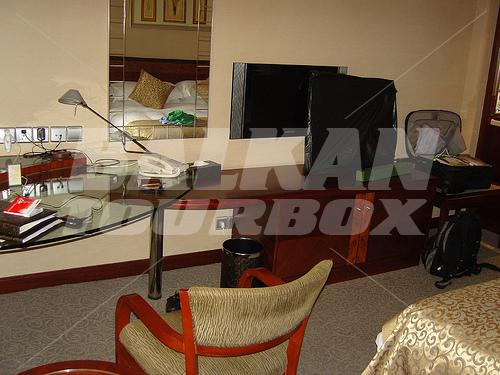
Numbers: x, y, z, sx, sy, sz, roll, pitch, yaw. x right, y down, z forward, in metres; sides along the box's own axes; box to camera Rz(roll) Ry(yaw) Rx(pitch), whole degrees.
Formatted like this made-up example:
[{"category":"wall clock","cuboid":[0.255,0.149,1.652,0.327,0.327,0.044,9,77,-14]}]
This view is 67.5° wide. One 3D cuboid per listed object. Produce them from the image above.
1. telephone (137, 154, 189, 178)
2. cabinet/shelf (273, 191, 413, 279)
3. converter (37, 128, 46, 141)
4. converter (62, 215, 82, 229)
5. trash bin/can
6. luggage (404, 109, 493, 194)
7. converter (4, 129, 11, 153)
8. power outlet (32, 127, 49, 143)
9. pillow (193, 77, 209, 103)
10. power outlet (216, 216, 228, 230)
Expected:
[{"category":"telephone","cuboid":[-0.611,-0.148,2.476,0.268,0.095,0.291,9,6,-6]},{"category":"cabinet/shelf","cuboid":[0.680,0.336,2.873,0.652,0.570,0.252,-4,23,-14]},{"category":"converter","cuboid":[-1.400,-0.355,2.501,0.058,0.098,0.072,-7,15,-28]},{"category":"converter","cuboid":[-0.789,0.149,1.664,0.119,0.030,0.068,11,17,35]},{"category":"trash bin/can","cuboid":[-0.098,0.496,2.801,0.327,0.388,0.339,4,16,0]},{"category":"luggage","cuboid":[1.944,-0.373,3.676,0.662,0.805,0.727,1,12,-11]},{"category":"converter","cuboid":[-1.572,-0.298,2.420,0.047,0.150,0.087,-8,16,-32]},{"category":"power outlet","cuboid":[-1.412,-0.356,2.502,0.098,0.099,0.024,-2,5,-1]},{"category":"pillow","cuboid":[-0.368,-0.765,2.895,0.135,0.142,0.035,-10,19,-35]},{"category":"power outlet","cuboid":[-0.247,0.306,3.227,0.114,0.122,0.016,-5,14,-22]}]
